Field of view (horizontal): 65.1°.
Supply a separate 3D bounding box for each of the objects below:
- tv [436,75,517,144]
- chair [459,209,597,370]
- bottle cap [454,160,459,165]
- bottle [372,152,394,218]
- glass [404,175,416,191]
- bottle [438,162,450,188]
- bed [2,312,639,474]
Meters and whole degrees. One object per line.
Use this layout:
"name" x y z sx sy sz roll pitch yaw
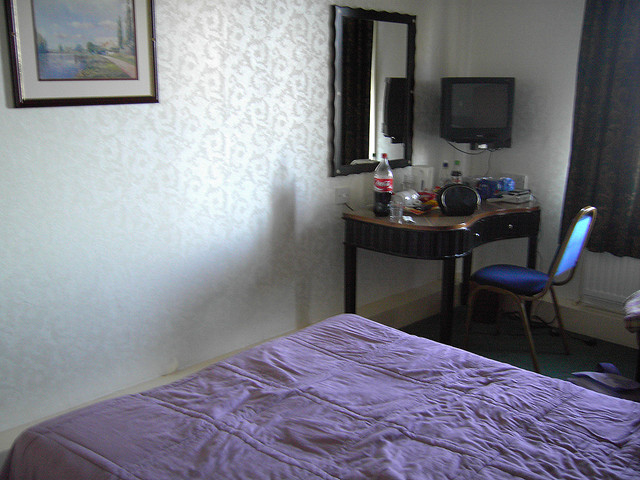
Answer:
"tv" 1.076 -0.932 3.673 0.649 0.459 0.354 -6 12 -17
"chair" 1.302 0.249 3.220 0.732 0.879 0.586 6 13 33
"bottle cap" 1.018 -0.580 3.740 0.038 0.039 0.062 3 10 15
"bottle" 0.398 -0.353 3.166 0.119 0.367 0.310 1 18 8
"glass" 0.639 -0.415 3.579 0.079 0.095 0.085 -1 18 2
"bottle" 0.919 -0.495 3.721 0.081 0.174 0.371 3 17 13
"bed" 0.083 0.556 1.709 1.967 0.115 0.778 -3 16 -7
